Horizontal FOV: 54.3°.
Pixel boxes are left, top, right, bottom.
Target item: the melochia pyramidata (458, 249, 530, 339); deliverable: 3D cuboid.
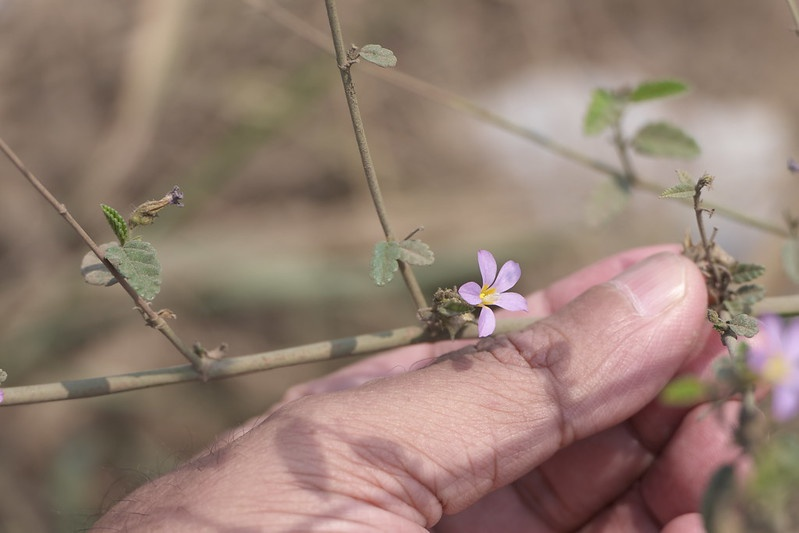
[{"bbox_3d":[0.480,0.143,3.960,0.338,0.192,0.472,11,26,12],"label":"melochia pyramidata"}]
